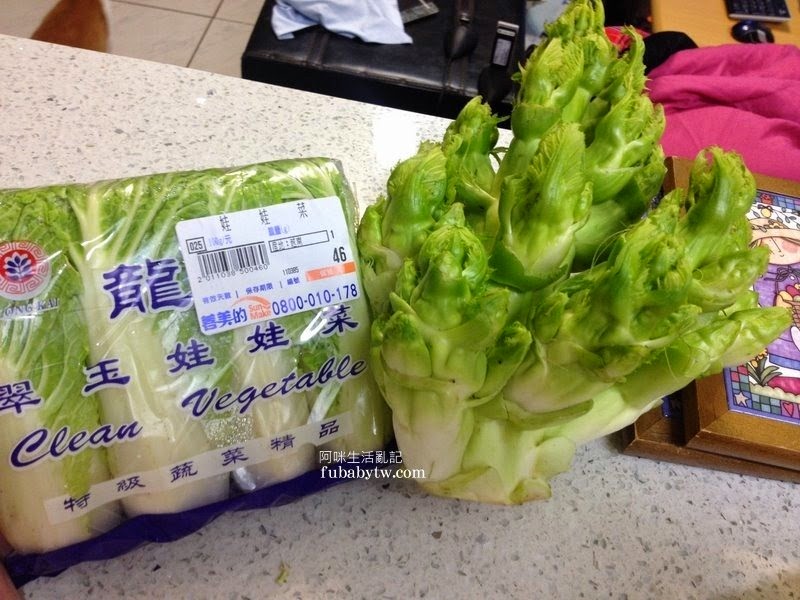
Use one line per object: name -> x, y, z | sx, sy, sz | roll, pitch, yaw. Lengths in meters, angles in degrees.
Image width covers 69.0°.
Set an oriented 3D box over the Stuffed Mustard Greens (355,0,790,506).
Stuffed Mustard Greens -> 0.253, -0.061, 0.930 | 0.634, 0.698, 0.439 | -5, 33, -6
